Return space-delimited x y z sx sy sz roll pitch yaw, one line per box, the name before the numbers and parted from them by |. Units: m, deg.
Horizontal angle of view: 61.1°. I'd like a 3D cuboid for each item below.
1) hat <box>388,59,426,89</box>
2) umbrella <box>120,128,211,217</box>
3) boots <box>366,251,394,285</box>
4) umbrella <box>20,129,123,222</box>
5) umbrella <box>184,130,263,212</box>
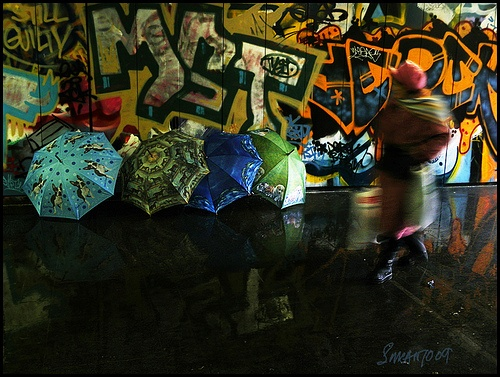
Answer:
hat | 1.826 -1.311 4.849 0.191 0.327 0.352 -24 64 -38
umbrella | -1.384 -0.295 6.955 1.288 1.360 0.448 -4 -11 12
boots | 1.658 0.959 5.328 0.416 0.417 0.199 -10 20 -23
umbrella | -2.853 -0.243 7.078 1.408 1.457 0.918 -2 -10 13
umbrella | -0.377 -0.402 7.621 1.240 1.295 0.853 -7 10 -1
